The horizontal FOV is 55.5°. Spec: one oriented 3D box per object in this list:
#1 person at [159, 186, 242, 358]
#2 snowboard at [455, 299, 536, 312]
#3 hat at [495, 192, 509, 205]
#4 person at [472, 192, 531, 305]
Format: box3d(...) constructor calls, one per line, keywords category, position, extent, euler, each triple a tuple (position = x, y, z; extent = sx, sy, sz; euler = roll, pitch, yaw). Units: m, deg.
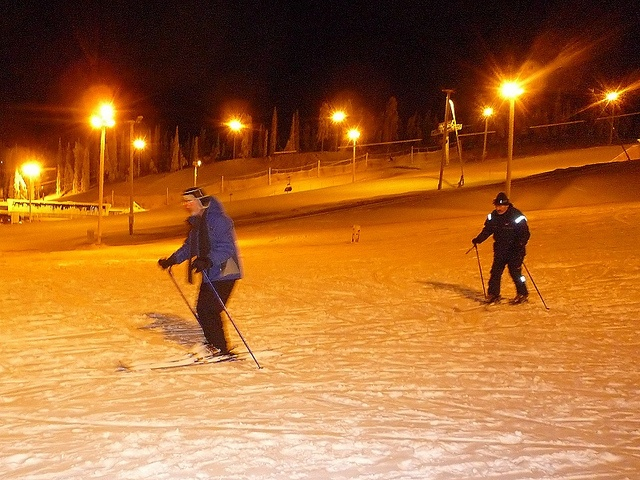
box3d(category="person", position=(-1.590, 0.481, 8.560), extent=(0.949, 2.442, 0.832), euler=(1, 6, 20))
box3d(category="snowboard", position=(3.253, 1.258, 11.775), extent=(1.709, 0.069, 0.598), euler=(-3, 6, -20))
box3d(category="hat", position=(3.528, -0.813, 11.657), extent=(0.278, 0.101, 0.243), euler=(-8, -1, -12))
box3d(category="person", position=(3.606, 0.145, 11.984), extent=(0.859, 2.159, 0.824), euler=(-3, 6, -13))
